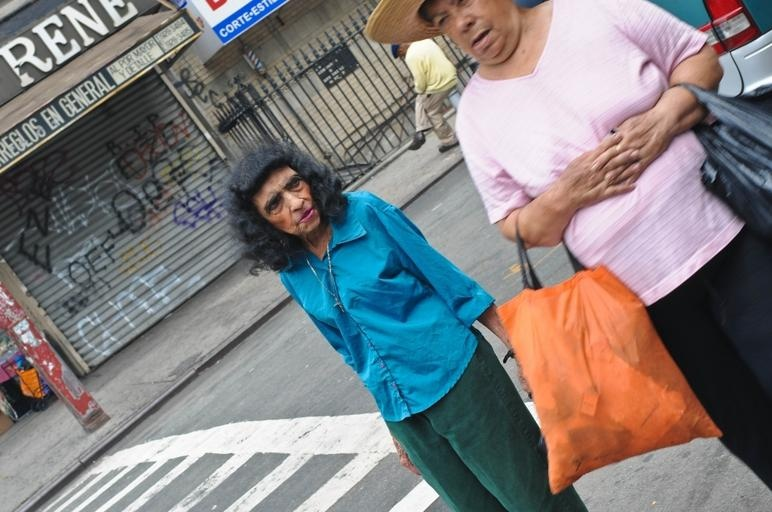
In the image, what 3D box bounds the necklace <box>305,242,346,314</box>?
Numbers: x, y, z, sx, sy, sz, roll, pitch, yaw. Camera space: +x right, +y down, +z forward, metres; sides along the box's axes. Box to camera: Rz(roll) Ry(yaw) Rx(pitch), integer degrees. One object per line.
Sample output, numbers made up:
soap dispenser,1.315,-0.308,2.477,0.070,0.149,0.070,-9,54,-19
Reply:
necklace,-0.382,0.125,5.147,0.146,0.546,0.037,-23,-11,12
